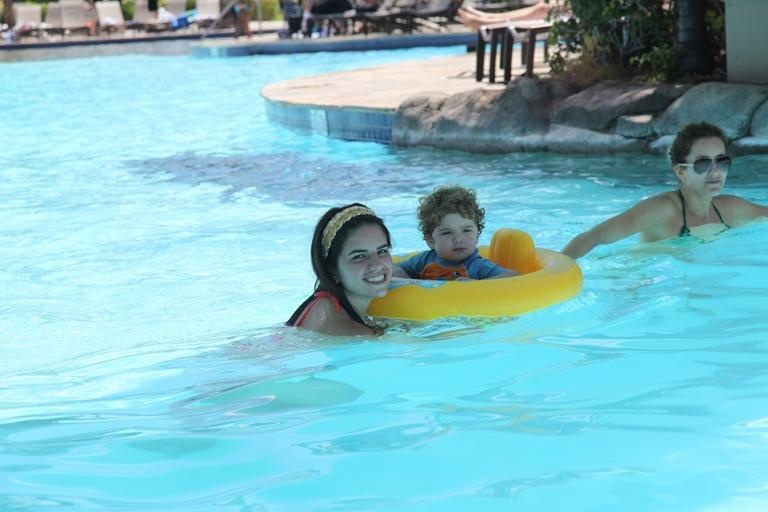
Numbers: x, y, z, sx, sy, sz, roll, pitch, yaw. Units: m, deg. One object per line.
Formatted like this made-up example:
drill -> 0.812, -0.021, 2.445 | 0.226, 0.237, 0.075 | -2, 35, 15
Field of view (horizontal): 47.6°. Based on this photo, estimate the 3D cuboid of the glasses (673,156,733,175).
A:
glasses -> 2.420, -0.681, 6.642 | 0.387, 0.145, 0.116 | 0, 16, 7

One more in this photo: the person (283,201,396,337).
person -> -0.265, 0.103, 5.529 | 0.634, 0.821, 0.304 | -4, 18, -5

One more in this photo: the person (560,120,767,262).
person -> 2.528, -0.552, 7.755 | 2.369, 1.059, 0.545 | -6, 16, -17

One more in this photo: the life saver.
life saver -> 0.662, 0.129, 5.764 | 1.136, 0.186, 0.924 | -7, 9, -17
